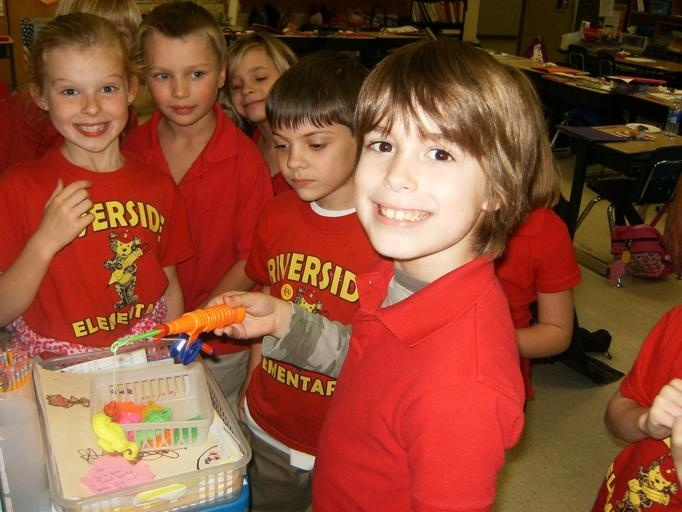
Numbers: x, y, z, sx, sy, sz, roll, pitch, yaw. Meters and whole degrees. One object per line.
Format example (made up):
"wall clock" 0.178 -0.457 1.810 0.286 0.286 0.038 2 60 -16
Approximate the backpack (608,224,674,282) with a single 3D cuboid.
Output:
"backpack" 2.274 -0.009 4.211 0.382 0.375 0.213 -2 17 25
